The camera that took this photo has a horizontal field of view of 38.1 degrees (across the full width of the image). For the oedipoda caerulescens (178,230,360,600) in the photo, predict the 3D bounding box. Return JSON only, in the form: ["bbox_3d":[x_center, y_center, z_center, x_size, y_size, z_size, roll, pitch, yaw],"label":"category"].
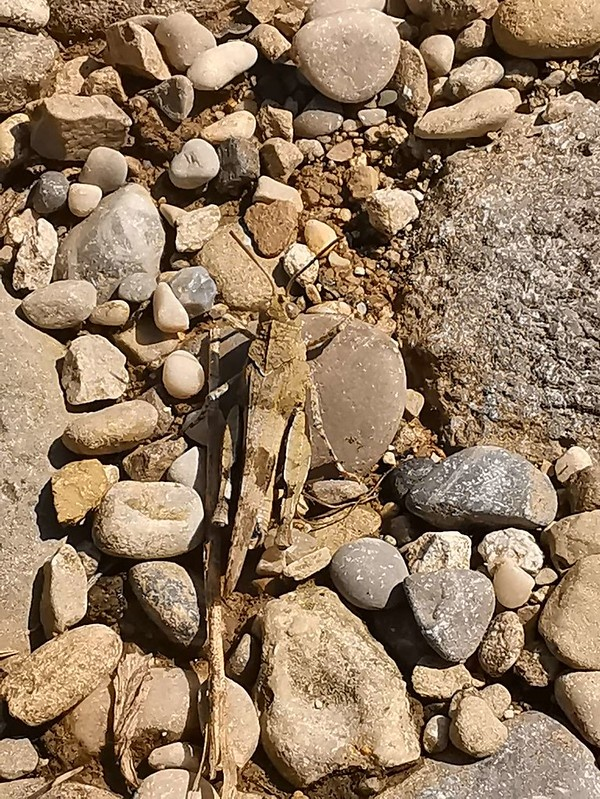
[{"bbox_3d":[-0.135,0.069,2.597,0.400,0.174,0.955,8,88,8],"label":"oedipoda caerulescens"}]
